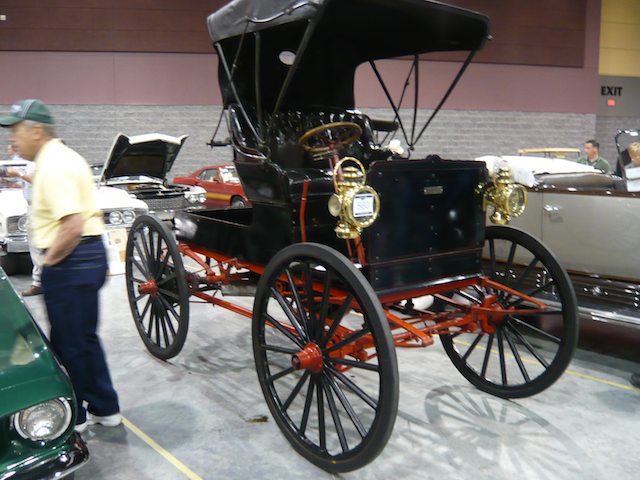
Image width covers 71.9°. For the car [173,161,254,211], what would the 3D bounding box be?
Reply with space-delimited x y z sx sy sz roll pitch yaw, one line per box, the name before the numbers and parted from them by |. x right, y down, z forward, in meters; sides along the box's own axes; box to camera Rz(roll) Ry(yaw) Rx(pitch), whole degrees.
car | -2.599 -1.443 11.858 1.521 0.901 3.126 -6 8 -45

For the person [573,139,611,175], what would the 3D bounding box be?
person | 5.179 -1.587 8.369 0.418 0.580 0.730 -14 18 -9

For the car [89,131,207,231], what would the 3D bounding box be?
car | -3.886 -1.385 9.798 2.143 1.757 3.020 -10 16 -42

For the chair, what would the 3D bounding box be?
chair | -0.014 -0.666 4.019 1.322 1.136 1.000 -4 16 -26
